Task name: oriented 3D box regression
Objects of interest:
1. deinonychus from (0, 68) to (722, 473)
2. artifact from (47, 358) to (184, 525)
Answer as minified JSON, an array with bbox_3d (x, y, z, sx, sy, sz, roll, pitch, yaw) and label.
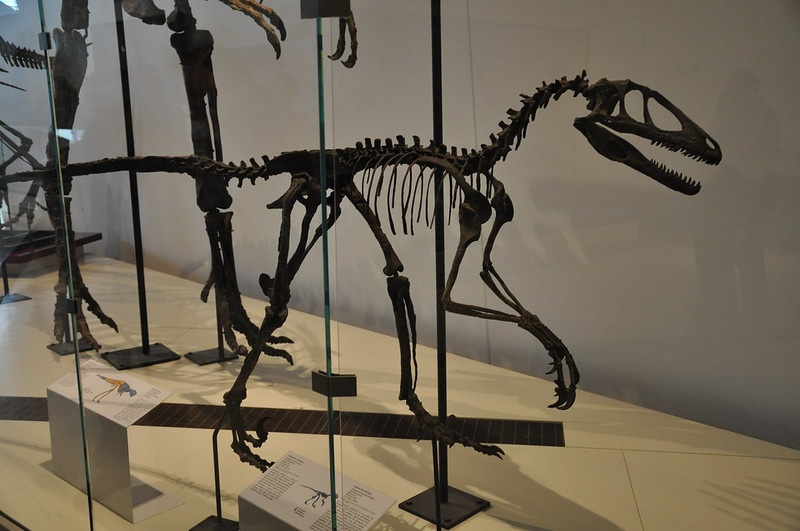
[{"bbox_3d":[-0.047,-0.262,3.289,2.535,1.567,1.018,5,17,9],"label":"deinonychus"},{"bbox_3d":[-1.126,0.703,3.072,0.558,0.501,0.201,17,22,39],"label":"artifact"}]
